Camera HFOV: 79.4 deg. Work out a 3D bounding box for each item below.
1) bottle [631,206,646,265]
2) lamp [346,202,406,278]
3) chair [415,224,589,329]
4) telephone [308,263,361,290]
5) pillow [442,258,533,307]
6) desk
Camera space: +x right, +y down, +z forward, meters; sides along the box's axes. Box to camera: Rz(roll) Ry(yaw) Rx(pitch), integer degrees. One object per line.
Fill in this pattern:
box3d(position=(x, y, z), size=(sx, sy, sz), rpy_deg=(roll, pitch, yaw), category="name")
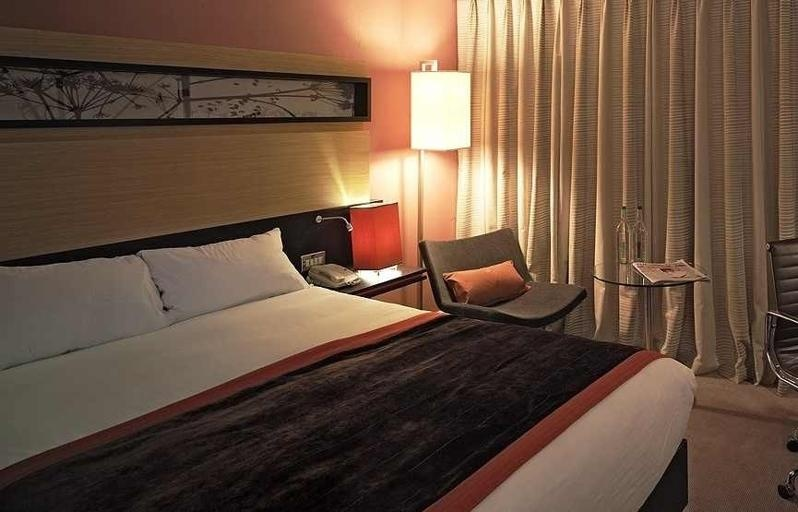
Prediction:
box3d(position=(1.981, -0.174, 3.991), size=(0.091, 0.430, 0.187), rpy_deg=(-1, 15, 25), category="bottle")
box3d(position=(-0.211, -0.155, 4.183), size=(0.452, 0.564, 0.219), rpy_deg=(-8, 14, -6), category="lamp")
box3d(position=(0.948, 0.317, 4.168), size=(1.227, 0.908, 0.945), rpy_deg=(-12, 15, -40), category="chair")
box3d(position=(-0.560, 0.161, 3.920), size=(0.308, 0.099, 0.226), rpy_deg=(8, 11, 36), category="telephone")
box3d(position=(0.756, 0.232, 4.162), size=(0.802, 0.287, 0.267), rpy_deg=(-9, 13, -36), category="pillow")
box3d(position=(2.078, 0.485, 3.945), size=(0.826, 0.748, 0.752), rpy_deg=(0, 10, -8), category="desk")
